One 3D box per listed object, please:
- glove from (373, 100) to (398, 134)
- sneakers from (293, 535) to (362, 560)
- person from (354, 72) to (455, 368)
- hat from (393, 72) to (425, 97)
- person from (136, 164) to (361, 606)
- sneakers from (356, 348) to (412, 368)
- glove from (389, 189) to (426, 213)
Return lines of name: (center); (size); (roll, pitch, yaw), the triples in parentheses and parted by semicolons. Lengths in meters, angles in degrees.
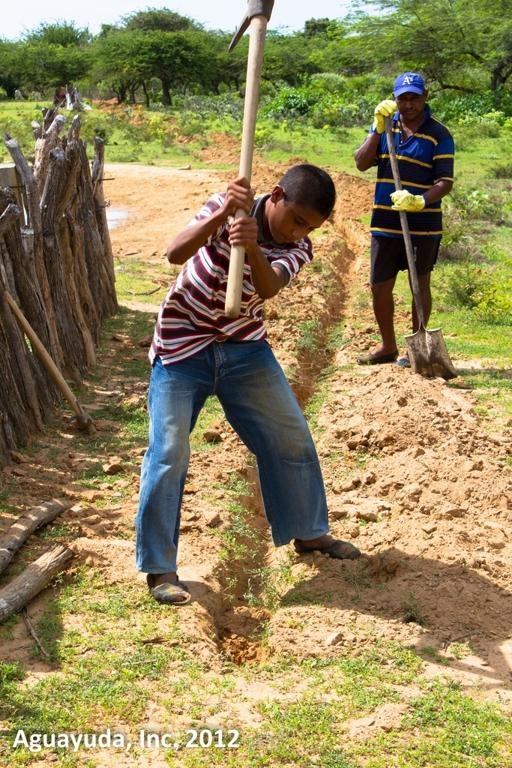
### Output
glove: (0.882, -1.910, 5.728); (0.081, 0.219, 0.180); (29, 42, 17)
sneakers: (0.350, 0.791, 3.839); (0.318, 0.070, 0.122); (-2, 12, 13)
person: (1.104, -1.208, 5.916); (0.859, 2.044, 0.865); (1, 11, 10)
hat: (1.069, -2.073, 5.563); (0.191, 0.132, 0.258); (0, 6, 16)
person: (-0.036, 0.052, 3.330); (0.898, 1.879, 0.626); (0, 16, -14)
sneakers: (1.016, -0.203, 6.352); (0.444, 0.128, 0.134); (3, 3, -1)
glove: (1.078, -1.295, 5.663); (0.220, 0.087, 0.151); (3, -24, 4)
